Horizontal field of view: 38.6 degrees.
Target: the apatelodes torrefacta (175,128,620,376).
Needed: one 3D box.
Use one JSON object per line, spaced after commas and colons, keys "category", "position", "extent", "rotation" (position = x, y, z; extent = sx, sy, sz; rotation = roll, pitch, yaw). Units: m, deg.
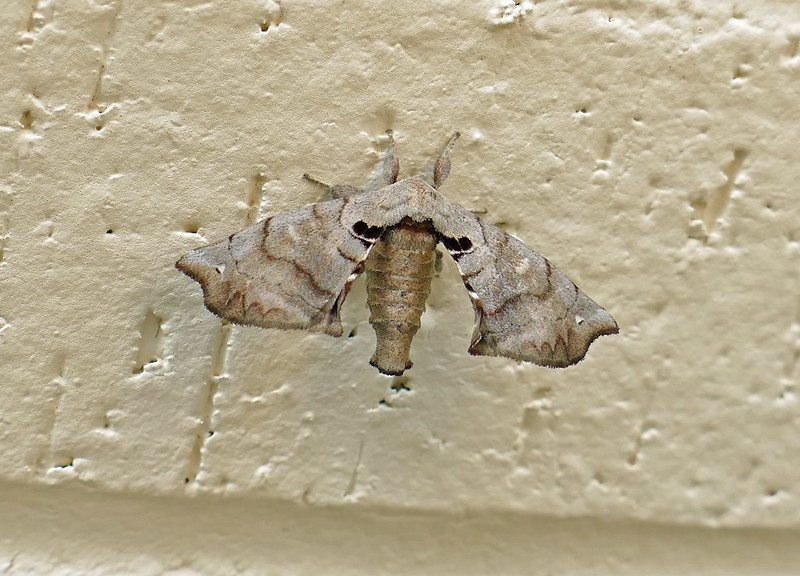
{"category": "apatelodes torrefacta", "position": [0.014, -0.034, 3.752], "extent": [1.360, 0.323, 0.633], "rotation": [18, 83, 3]}
